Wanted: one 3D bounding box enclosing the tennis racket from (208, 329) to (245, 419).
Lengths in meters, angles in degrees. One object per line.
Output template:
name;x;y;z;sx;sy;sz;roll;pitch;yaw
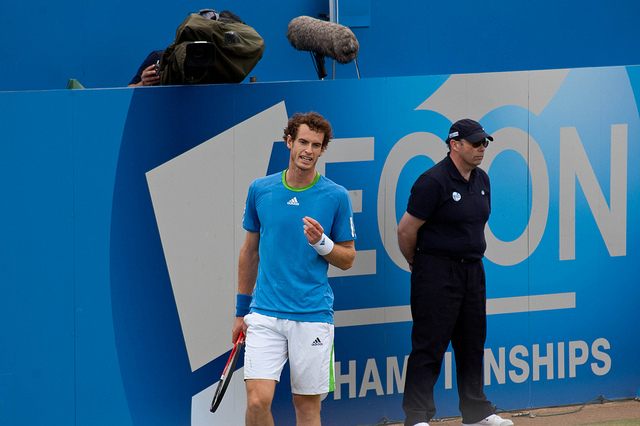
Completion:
tennis racket;-0.858;1.436;10.674;0.133;1.047;0.302;30;-45;-11

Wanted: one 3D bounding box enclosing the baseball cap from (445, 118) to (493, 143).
baseball cap;1.331;-0.732;10.646;0.337;0.247;0.472;-2;6;-41
